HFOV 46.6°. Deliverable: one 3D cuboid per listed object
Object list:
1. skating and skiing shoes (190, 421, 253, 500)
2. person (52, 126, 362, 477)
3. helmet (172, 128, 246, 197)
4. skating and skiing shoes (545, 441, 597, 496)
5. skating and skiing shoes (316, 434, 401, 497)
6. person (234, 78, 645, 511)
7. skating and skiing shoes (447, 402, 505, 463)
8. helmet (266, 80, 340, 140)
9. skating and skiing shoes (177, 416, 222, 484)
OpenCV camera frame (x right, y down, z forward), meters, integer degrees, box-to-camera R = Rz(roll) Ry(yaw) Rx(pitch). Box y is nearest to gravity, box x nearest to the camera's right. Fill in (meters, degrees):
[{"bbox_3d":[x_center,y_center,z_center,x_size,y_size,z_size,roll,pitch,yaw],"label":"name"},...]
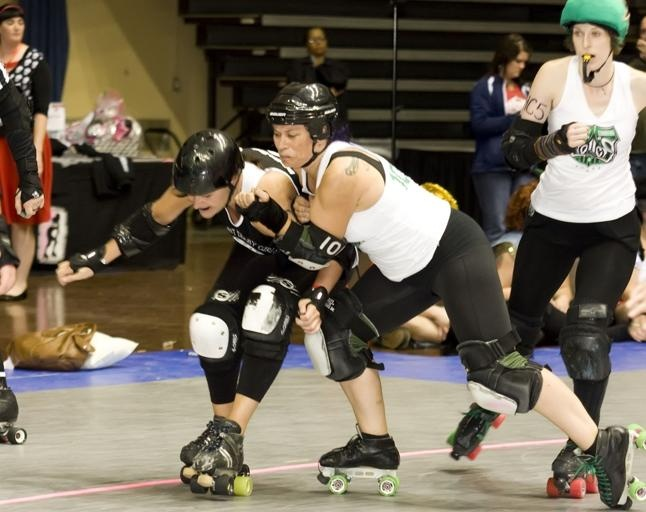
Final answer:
[{"bbox_3d":[-0.316,0.625,2.305,0.144,0.212,0.290,-2,-17,15],"label":"skating and skiing shoes"},{"bbox_3d":[-0.537,0.099,2.828,1.065,1.475,1.086,1,5,20],"label":"person"},{"bbox_3d":[-0.353,-0.307,2.354,0.158,0.186,0.218,16,23,36],"label":"helmet"},{"bbox_3d":[0.781,0.666,2.364,0.117,0.137,0.207,-10,14,40],"label":"skating and skiing shoes"},{"bbox_3d":[0.113,0.660,2.349,0.250,0.198,0.139,2,-7,2],"label":"skating and skiing shoes"},{"bbox_3d":[0.298,0.103,2.363,1.099,1.266,0.453,0,3,-2],"label":"person"},{"bbox_3d":[0.511,0.602,2.628,0.125,0.243,0.131,44,-16,-17],"label":"skating and skiing shoes"},{"bbox_3d":[-0.051,-0.453,2.295,0.160,0.181,0.214,20,29,38],"label":"helmet"},{"bbox_3d":[-0.391,0.637,2.340,0.080,0.126,0.265,8,-19,15],"label":"skating and skiing shoes"}]
